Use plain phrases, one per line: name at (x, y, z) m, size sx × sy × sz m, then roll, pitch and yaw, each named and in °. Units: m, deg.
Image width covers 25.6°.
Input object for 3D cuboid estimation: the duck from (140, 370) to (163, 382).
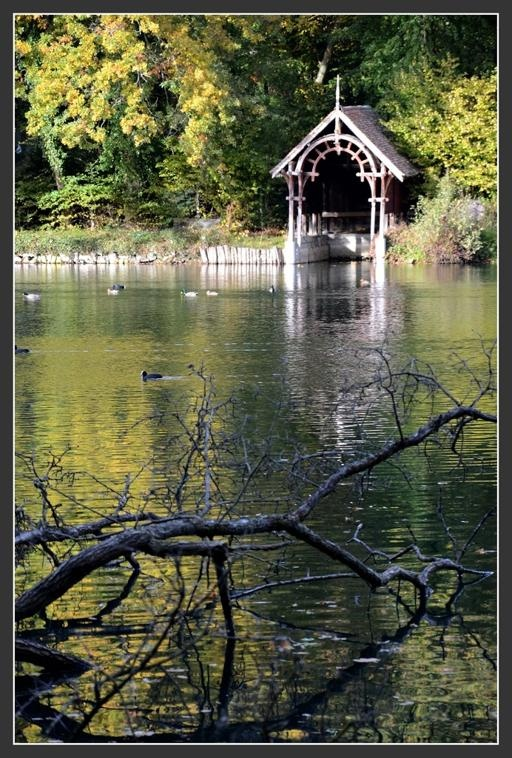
duck at (-1.417, -0.039, 15.140) m, size 0.228 × 0.142 × 0.169 m, roll 3°, pitch -1°, yaw 8°
